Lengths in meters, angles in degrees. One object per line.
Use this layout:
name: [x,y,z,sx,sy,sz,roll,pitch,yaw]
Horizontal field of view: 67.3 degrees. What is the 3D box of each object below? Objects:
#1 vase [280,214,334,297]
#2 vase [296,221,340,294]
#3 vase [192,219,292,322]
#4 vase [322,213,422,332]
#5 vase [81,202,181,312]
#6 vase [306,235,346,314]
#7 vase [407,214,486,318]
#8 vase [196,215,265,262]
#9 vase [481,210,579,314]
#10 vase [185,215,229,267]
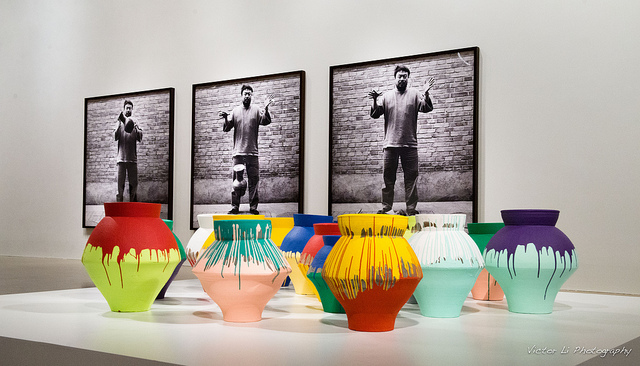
vase: [-0.026,0.501,3.177,0.480,0.522,0.476,0,5,-15]
vase: [-0.026,0.414,2.800,0.329,0.312,0.329,2,-3,-2]
vase: [-0.441,0.474,2.597,0.589,0.535,0.578,0,-5,7]
vase: [0.229,0.476,2.549,0.605,0.594,0.606,3,-10,-11]
vase: [-1.074,0.422,2.761,0.537,0.585,0.563,-1,-8,7]
vase: [0.049,0.510,2.664,0.367,0.407,0.362,1,-4,-4]
vase: [0.649,0.454,2.764,0.529,0.559,0.511,7,-4,-37]
vase: [-0.495,0.260,2.680,0.356,0.313,0.348,2,-6,-6]
vase: [1.223,0.462,2.860,0.564,0.565,0.528,0,-4,-8]
vase: [-0.748,0.365,3.023,0.287,0.366,0.289,-1,-6,30]
